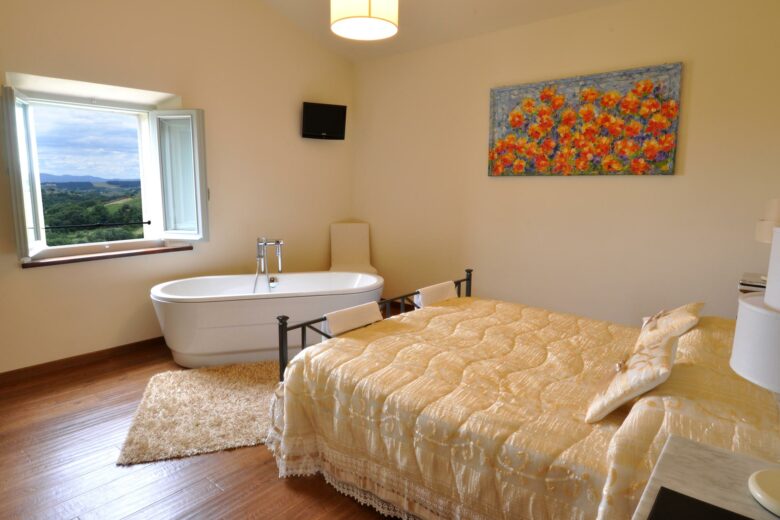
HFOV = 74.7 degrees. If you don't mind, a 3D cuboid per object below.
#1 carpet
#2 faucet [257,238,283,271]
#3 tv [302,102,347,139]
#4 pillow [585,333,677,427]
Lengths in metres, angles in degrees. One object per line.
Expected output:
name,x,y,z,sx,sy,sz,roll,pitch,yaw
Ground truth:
carpet,-1.439,1.164,4.060,1.070,0.281,1.082,-3,9,-9
faucet,-1.301,-0.053,5.544,0.256,0.398,0.682,-4,9,-14
tv,-0.785,-1.625,5.976,0.465,0.339,0.065,-4,18,-35
pillow,1.349,0.660,2.807,0.516,0.425,0.326,-10,13,-40
